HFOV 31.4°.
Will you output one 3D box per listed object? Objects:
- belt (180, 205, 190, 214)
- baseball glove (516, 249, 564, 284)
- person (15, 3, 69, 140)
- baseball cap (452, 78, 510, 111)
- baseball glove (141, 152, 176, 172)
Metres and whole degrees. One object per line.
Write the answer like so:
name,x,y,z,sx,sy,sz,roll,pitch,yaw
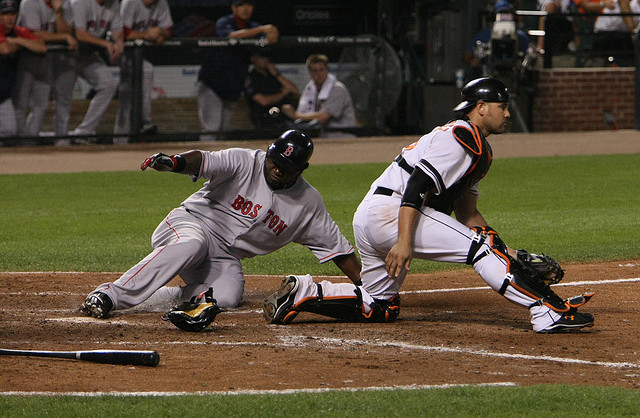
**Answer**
belt,-1.273,0.004,10.821,0.017,0.052,0.092,-2,9,-40
baseball glove,1.955,0.505,10.197,0.422,0.138,0.240,23,22,-14
person,-3.791,-1.920,15.591,0.654,1.867,1.229,2,7,-12
baseball cap,1.442,-1.046,10.300,0.409,0.188,0.291,-5,7,10
baseball glove,-1.462,-0.419,10.296,0.261,0.085,0.155,-2,37,-31
